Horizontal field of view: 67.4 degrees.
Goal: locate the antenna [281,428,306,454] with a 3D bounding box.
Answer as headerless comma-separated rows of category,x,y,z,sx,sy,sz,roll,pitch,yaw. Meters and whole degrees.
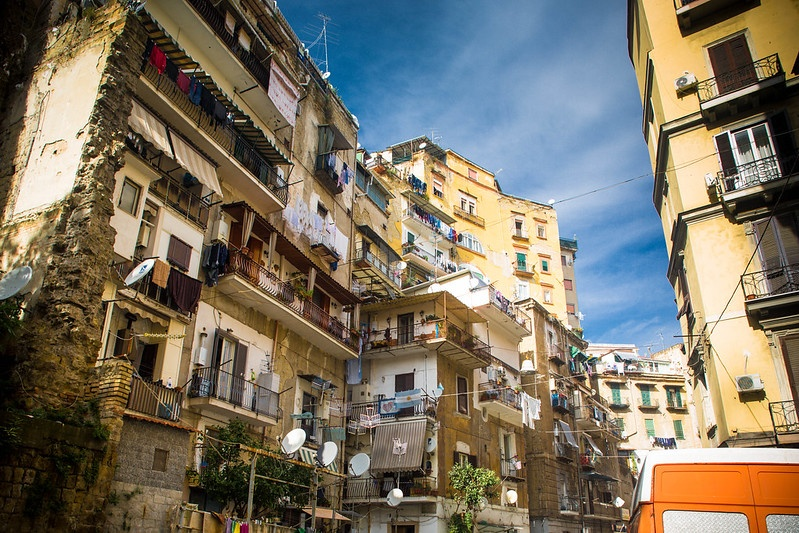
antenna,-3.835,6.585,22.371,1.047,1.097,0.273,-28,-45,35

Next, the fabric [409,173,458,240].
fabric,2.844,-5.015,51.794,0.764,4.107,5.426,-27,-47,25

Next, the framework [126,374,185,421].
framework,-8.716,4.829,21.551,0.851,1.432,2.388,-9,-32,17

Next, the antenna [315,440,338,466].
antenna,-2.746,7.223,22.829,0.640,1.061,0.409,17,-28,-10

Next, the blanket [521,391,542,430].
blanket,8.834,9.813,40.169,0.405,2.475,2.356,-20,-35,38

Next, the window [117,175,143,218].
window,-9.952,-2.602,22.212,0.090,1.266,0.929,-1,-21,20

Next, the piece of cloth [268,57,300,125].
piece of cloth,-6.059,-9.150,32.219,0.335,3.434,3.004,-15,-43,-29

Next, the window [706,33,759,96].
window,16.037,-9.717,28.865,1.810,0.225,3.280,-15,-38,31

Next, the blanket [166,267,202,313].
blanket,-8.401,1.093,23.599,0.150,1.458,1.677,-6,-20,24

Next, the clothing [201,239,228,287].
clothing,-7.972,-0.229,26.035,0.866,2.109,0.938,-5,-30,10
